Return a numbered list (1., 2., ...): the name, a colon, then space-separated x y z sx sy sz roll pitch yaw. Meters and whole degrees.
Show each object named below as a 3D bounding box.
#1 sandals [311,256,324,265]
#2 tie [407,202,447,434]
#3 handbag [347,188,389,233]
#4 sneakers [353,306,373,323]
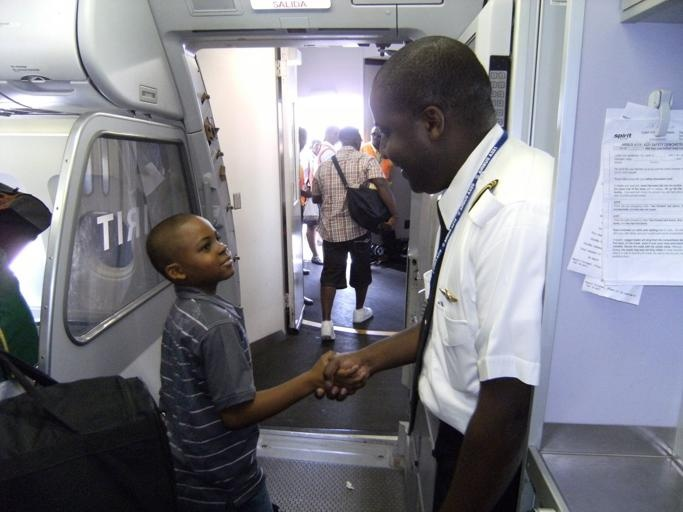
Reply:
1. sandals: -0.373 0.074 7.283 0.087 0.107 0.253 -1 -2 -18
2. tie: 0.275 0.259 1.591 0.095 0.942 0.048 3 -6 35
3. handbag: 0.236 -0.423 4.277 0.289 0.227 0.160 30 3 -21
4. sneakers: 0.226 0.596 5.052 0.095 0.133 0.274 4 16 27
